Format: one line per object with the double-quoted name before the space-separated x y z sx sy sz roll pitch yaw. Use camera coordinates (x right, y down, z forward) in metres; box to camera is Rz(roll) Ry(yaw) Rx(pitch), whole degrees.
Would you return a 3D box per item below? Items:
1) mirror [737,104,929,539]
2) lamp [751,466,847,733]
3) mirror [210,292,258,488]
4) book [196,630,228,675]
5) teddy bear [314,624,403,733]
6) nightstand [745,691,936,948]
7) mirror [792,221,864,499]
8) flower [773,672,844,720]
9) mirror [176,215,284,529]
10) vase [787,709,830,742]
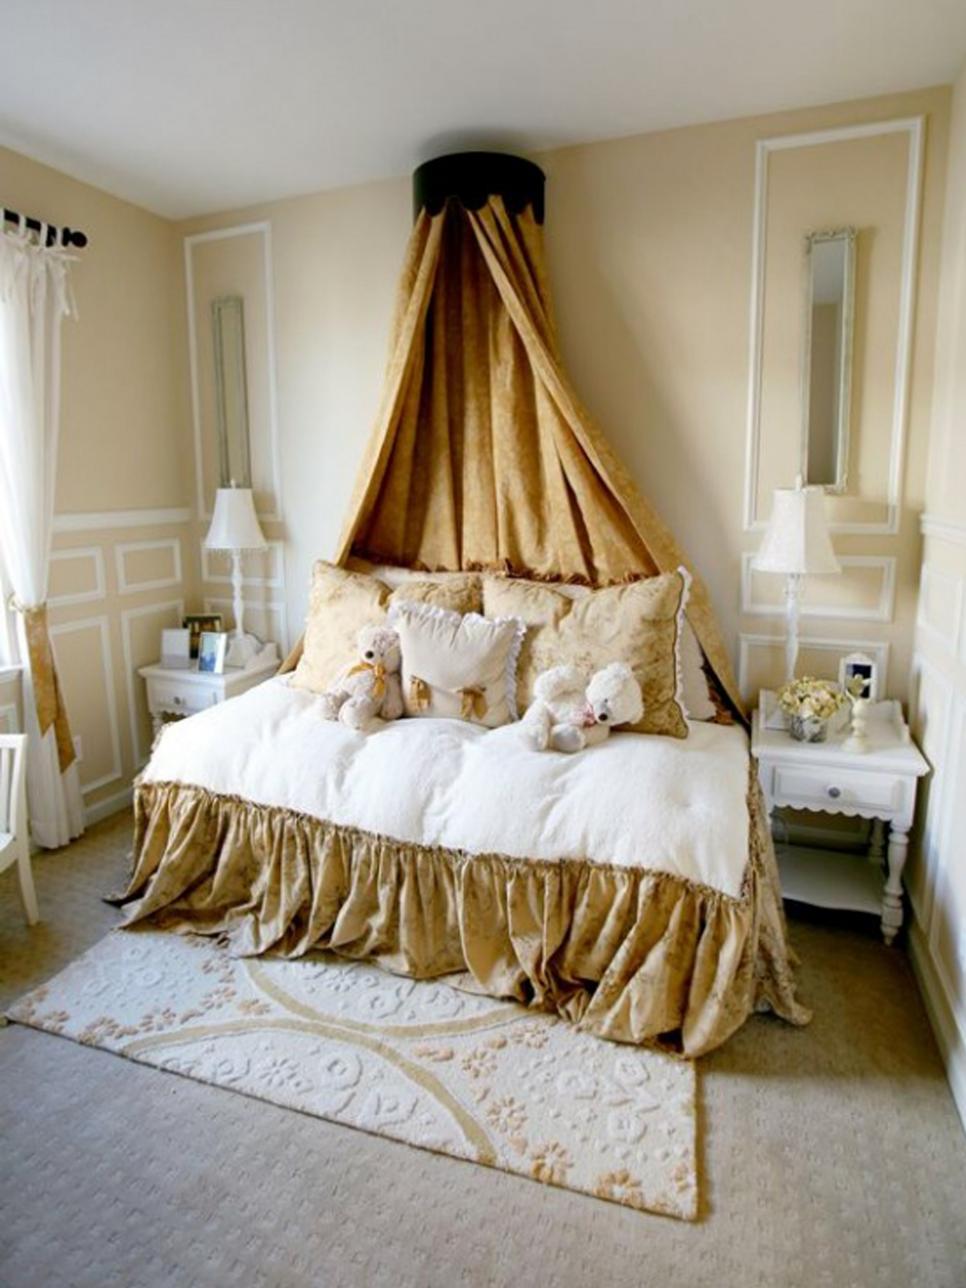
"mirror" 1.006 -0.948 2.749 0.456 1.306 0.047 2 -15 20
"lamp" 0.905 -0.124 2.750 0.238 0.675 0.231 1 18 17
"mirror" -0.987 -0.974 3.689 0.151 0.718 0.035 0 3 9
"book" -1.019 0.035 3.559 0.128 0.147 0.039 6 9 24
"teddy bear" -0.343 0.093 2.805 0.205 0.318 0.252 6 -2 26
"nightstand" 0.961 0.602 2.580 0.444 0.375 0.668 0 46 33
"mirror" 1.000 -0.820 2.769 0.034 0.746 0.191 -13 16 -41
"flower" 0.928 0.133 2.663 0.121 0.117 0.131 3 2 9
"mirror" -0.958 -1.004 3.665 0.434 1.147 0.082 7 16 27
"vase" 0.923 0.224 2.694 0.083 0.099 0.085 2 3 44
